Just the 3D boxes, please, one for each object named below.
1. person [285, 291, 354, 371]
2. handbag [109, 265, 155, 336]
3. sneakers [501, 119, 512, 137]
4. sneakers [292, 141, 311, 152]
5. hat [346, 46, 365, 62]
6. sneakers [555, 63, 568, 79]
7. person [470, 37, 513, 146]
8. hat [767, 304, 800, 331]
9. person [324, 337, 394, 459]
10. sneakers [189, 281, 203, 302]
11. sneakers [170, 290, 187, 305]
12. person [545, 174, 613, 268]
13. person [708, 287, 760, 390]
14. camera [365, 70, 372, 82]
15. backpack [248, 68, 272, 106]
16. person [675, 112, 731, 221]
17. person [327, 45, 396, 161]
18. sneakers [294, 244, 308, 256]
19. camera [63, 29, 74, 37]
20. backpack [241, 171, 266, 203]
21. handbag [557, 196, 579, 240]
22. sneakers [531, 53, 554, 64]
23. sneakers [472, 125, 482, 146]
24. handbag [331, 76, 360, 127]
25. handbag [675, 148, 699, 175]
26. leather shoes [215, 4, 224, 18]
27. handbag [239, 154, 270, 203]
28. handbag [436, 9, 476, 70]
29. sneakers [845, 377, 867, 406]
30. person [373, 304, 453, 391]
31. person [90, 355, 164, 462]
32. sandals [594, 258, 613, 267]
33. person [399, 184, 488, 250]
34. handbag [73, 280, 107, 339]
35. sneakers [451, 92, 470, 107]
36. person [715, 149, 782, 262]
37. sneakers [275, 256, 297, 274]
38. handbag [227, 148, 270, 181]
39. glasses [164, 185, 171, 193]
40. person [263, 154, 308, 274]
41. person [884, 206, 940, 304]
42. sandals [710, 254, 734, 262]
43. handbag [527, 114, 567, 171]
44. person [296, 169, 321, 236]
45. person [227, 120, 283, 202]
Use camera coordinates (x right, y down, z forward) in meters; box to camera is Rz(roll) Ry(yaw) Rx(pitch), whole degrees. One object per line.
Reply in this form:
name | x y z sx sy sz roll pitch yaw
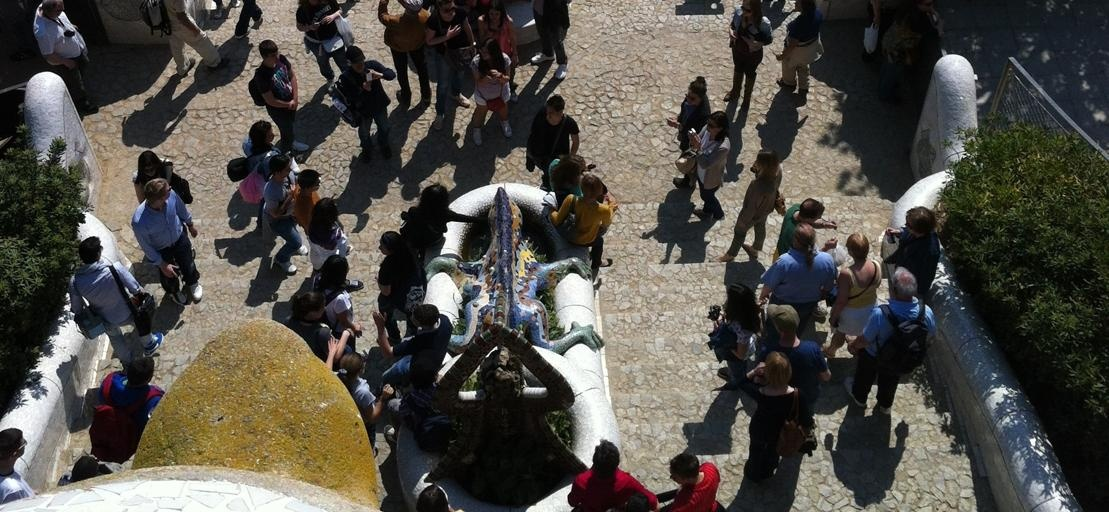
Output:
person | -4.547 1.442 17.506 0.625 1.357 0.760 32 64 11
handbag | -8.935 0.975 19.059 0.461 1.438 0.507 -26 72 -13
sneakers | -1.181 -3.071 22.001 0.178 0.496 0.192 -22 -4 -5
sneakers | -6.097 -2.612 21.723 0.434 0.150 0.160 16 -8 13
hat | -4.605 -4.596 20.755 0.367 0.328 0.301 -4 26 -12
sneakers | 0.126 -4.599 22.710 0.216 0.170 0.414 5 67 7
person | -1.498 -3.882 21.573 0.993 2.659 0.882 -19 50 -21
hat | 4.492 1.151 17.836 0.546 0.450 0.534 2 26 0
person | -3.950 2.795 18.371 1.102 2.329 1.259 -16 30 -33
sneakers | -7.952 0.781 20.032 0.170 0.512 0.212 -6 3 -12
sneakers | -8.240 0.911 20.015 0.207 0.495 0.202 -8 64 36
person | 0.623 -0.732 19.713 1.443 2.348 0.610 -4 25 -12
person | 3.658 1.744 18.509 0.784 1.947 0.718 14 71 16
camera | -4.287 -4.125 20.862 0.197 0.183 0.047 -8 12 -33
backpack | -6.824 -3.859 20.938 0.534 0.865 0.210 16 28 28
person | 3.356 -2.019 20.749 1.056 2.164 0.816 -17 67 -3
person | -4.465 -3.522 21.361 1.518 2.800 0.990 -14 40 -9
sneakers | -5.725 -0.151 20.498 0.246 0.190 0.245 -31 21 -28
camera | -11.531 -5.259 21.494 0.232 0.147 0.054 -13 28 -28
backpack | -6.687 -1.572 20.089 0.321 0.449 0.567 -21 3 -31
handbag | 0.269 -0.877 19.455 0.377 0.679 0.546 14 55 -14
sneakers | -0.360 -5.004 23.061 0.632 0.252 0.241 1 71 3
sneakers | -1.884 -2.907 21.889 0.148 0.456 0.173 -10 -8 0
handbag | -4.992 -3.876 21.350 0.641 1.148 0.848 10 57 -10
handbag | 3.038 -2.170 20.839 0.282 0.646 0.435 -18 78 -23
leather shoes | -8.753 -6.339 23.587 0.166 0.433 0.249 2 -1 5
handbag | -6.861 -1.702 20.564 0.587 0.718 1.288 4 60 -21
handbag | -2.420 -5.135 21.634 0.974 1.429 0.805 -16 61 -4
sneakers | 6.234 2.818 19.030 0.254 0.267 0.711 -18 59 -4
person | -2.827 1.835 18.215 0.942 1.659 0.784 37 51 11
person | -8.306 2.903 17.416 1.354 1.792 0.879 -13 28 -28
sandals | 1.062 0.128 20.313 0.406 0.140 0.168 -6 71 -19
person | -2.416 -0.798 19.681 1.501 1.550 0.490 15 63 -8
handbag | -9.553 1.017 18.616 0.551 0.743 0.796 -45 58 4
sneakers | -2.338 -3.877 22.482 0.224 0.440 0.171 -56 16 -16
person | 4.332 -1.041 20.355 0.971 2.398 0.898 -44 68 -12
sneakers | -6.023 0.193 20.403 0.511 0.224 0.276 31 64 -1
handbag | -6.831 -2.001 20.148 0.890 0.575 0.876 5 -14 -6
glasses | -8.225 -1.424 19.200 0.141 0.142 0.131 -2 15 -34
person | -5.970 -0.916 20.010 0.850 2.397 0.958 5 64 -10
person | 7.457 -0.004 18.856 0.610 1.804 0.753 -15 68 13
sandals | 3.800 0.050 20.411 0.402 0.159 0.285 4 -8 7
handbag | -0.160 -2.518 20.168 0.986 1.331 0.769 -4 47 -16
person | -5.343 -1.158 19.553 0.525 1.267 0.524 -10 77 -21
person | -6.728 -2.063 20.333 0.952 1.639 1.070 -2 52 -32
